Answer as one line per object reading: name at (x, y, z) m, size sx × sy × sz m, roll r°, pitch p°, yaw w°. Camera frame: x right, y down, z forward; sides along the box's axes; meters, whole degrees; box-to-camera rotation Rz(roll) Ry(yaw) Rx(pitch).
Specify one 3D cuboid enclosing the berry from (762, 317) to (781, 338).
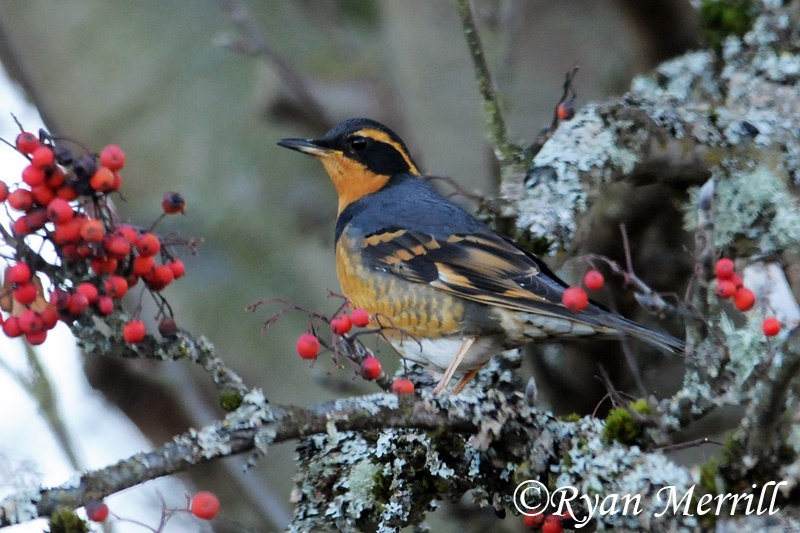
berry at (1.934, 0.318, 5.959) m, size 0.096 × 0.111 × 0.096 m, roll -1°, pitch 13°, yaw 2°
